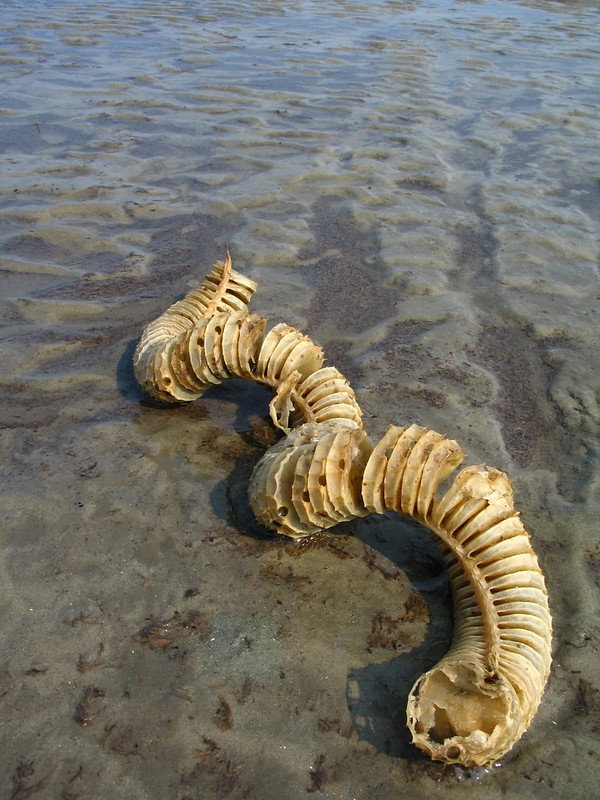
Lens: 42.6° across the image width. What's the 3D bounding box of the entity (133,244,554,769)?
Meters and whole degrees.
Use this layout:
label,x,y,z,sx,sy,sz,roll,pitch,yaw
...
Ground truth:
label,x,y,z,sx,sy,sz,roll,pitch,yaw
entity,0.104,0.263,3.805,1.092,0.843,3.206,-16,48,-36
